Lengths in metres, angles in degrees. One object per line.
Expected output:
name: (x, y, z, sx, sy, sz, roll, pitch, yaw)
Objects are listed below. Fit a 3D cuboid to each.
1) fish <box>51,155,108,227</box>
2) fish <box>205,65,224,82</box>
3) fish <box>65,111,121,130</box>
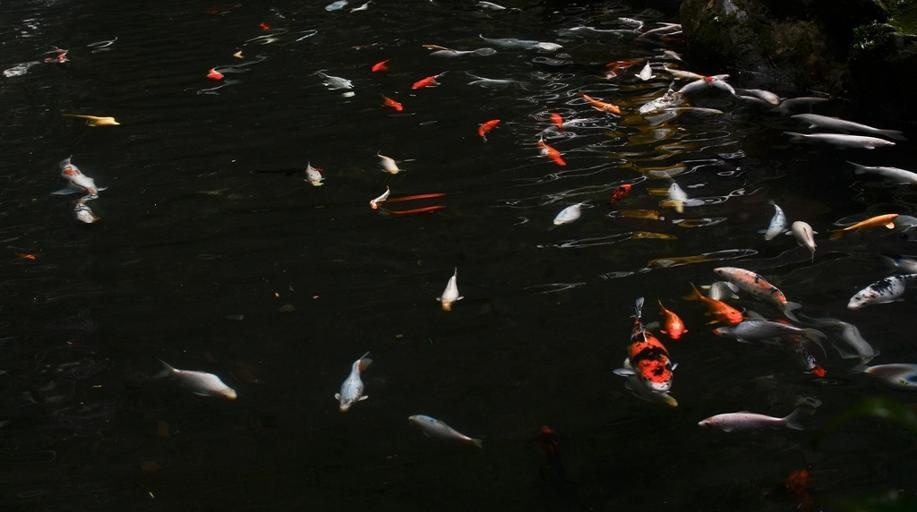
fish: (-3.982, -0.675, 11.384, 0.621, 0.196, 0.701, -24, 62, -23)
fish: (-2.943, -2.181, 13.070, 0.192, 0.079, 0.223, -13, 25, -25)
fish: (-4.182, -1.544, 12.307, 0.748, 0.065, 0.230, 10, 31, 14)
